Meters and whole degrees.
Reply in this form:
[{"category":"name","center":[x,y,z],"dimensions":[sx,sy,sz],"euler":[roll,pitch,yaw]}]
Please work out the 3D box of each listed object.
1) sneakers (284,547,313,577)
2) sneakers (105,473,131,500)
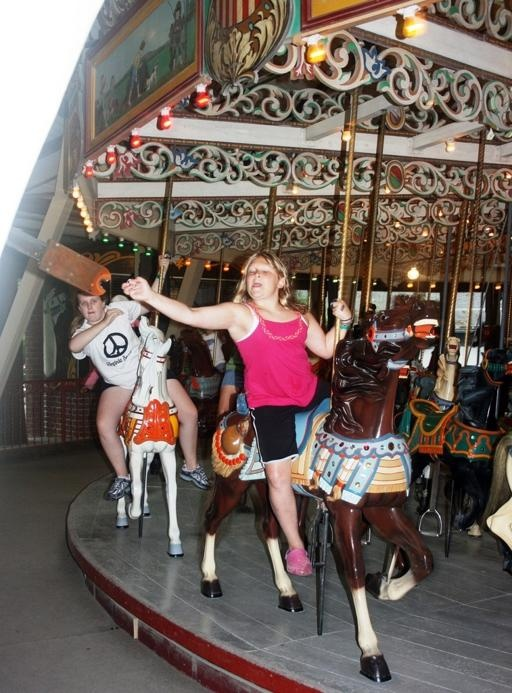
[{"category":"sneakers","center":[0.257,1.305,3.098],"dimensions":[0.141,0.093,0.245],"euler":[0,-5,-7]},{"category":"sneakers","center":[-1.338,1.408,4.999],"dimensions":[0.176,0.160,0.425],"euler":[0,-9,1]}]
